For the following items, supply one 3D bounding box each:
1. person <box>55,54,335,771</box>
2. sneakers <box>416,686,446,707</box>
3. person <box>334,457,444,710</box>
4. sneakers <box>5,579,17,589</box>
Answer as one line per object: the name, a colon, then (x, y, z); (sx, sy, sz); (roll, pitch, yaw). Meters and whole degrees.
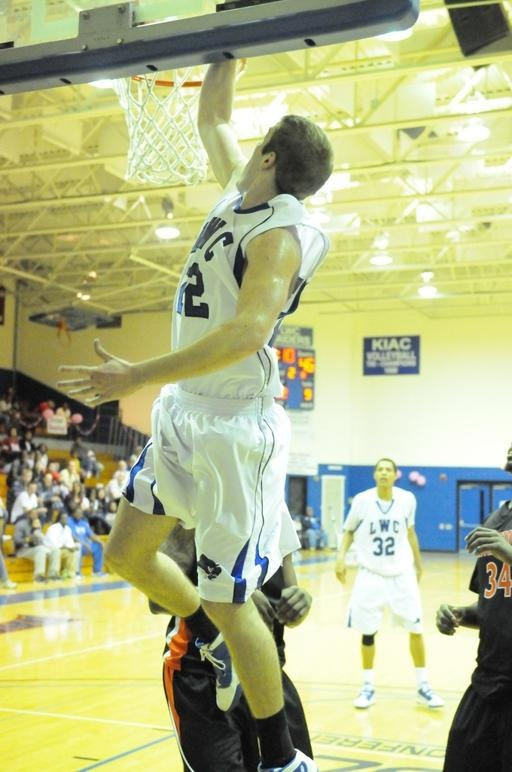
person: (-0.097, -0.109, 1.658); (0.555, 1.986, 0.797); (2, -11, -1)
sneakers: (1.205, 2.154, 4.770); (0.079, 0.095, 0.211); (-1, -17, -10)
person: (1.031, 1.465, 5.621); (0.767, 1.826, 1.463); (0, -11, 9)
sneakers: (-3.714, 3.038, 10.557); (0.158, 0.130, 0.360); (4, -11, -12)
